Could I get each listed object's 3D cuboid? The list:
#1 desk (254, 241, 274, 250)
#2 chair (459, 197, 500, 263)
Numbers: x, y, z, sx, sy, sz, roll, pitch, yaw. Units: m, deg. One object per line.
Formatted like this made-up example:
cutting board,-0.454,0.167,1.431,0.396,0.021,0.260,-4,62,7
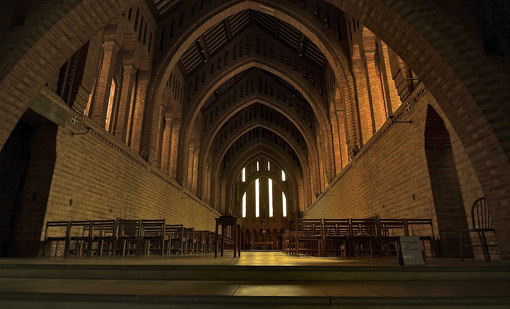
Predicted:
desk,0.919,9.242,36.060,2.005,0.725,1.732,0,-20,0
chair,6.144,2.125,9.885,0.872,1.691,2.322,-12,-24,27
